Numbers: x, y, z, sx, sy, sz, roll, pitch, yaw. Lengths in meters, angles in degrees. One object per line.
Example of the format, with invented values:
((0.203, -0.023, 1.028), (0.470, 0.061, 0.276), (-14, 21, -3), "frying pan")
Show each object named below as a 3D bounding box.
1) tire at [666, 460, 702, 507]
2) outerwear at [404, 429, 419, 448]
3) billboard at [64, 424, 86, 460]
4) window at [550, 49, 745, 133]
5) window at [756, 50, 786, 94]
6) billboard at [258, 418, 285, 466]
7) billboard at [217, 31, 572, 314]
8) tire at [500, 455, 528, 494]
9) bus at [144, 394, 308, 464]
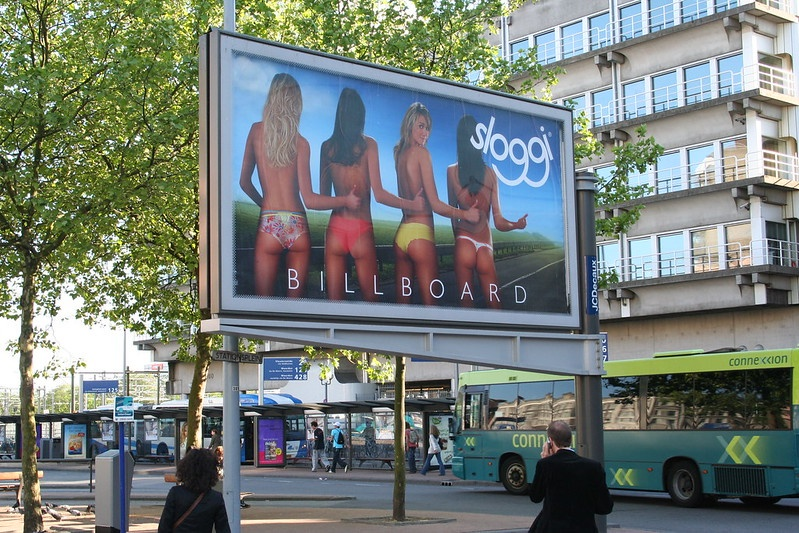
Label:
((7.667, 5.827, 34.554), (1.128, 1.243, 0.255), (-11, -15, 43), "tire")
((0.447, 6.229, 46.613), (0.400, 0.654, 0.539), (-2, -11, 3), "outerwear")
((-16.199, 8.779, 64.586), (1.659, 2.301, 0.183), (-1, -5, 18), "billboard")
((10.425, -7.290, 53.435), (0.268, 2.218, 12.300), (-11, 5, -24), "window")
((14.555, -7.564, 50.481), (0.054, 1.052, 1.858), (-12, -18, 40), "window")
((-5.377, 7.415, 54.203), (1.143, 1.965, 0.972), (1, -11, -8), "billboard")
((-0.263, -1.761, 27.634), (7.049, 3.967, 0.336), (4, -7, -26), "billboard")
((3.425, 6.307, 38.694), (1.153, 1.125, 0.373), (10, -16, -27), "tire")
((-8.522, 7.655, 58.368), (9.688, 2.738, 2.307), (-7, -5, 43), "bus")
